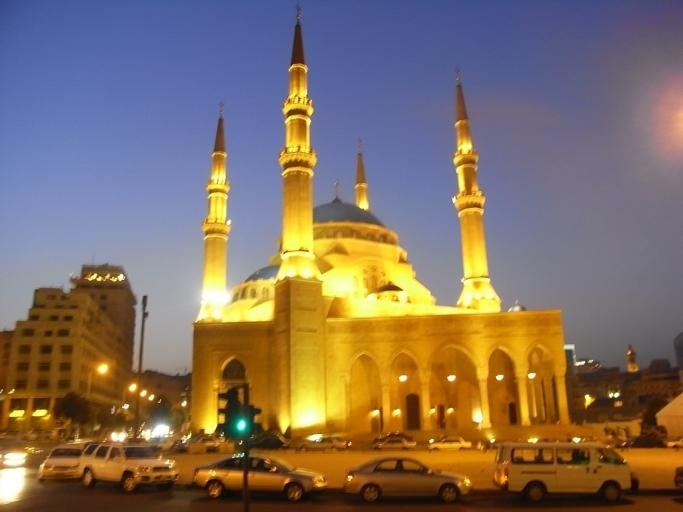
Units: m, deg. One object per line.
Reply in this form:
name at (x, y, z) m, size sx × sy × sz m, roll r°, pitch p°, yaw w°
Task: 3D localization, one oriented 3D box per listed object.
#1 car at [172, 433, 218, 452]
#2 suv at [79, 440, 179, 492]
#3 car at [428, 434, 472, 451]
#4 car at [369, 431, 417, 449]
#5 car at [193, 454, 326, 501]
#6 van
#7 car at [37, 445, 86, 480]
car at (-8.276, 10.903, 33.780) m, size 2.120 × 0.733 × 1.350 m, roll 9°, pitch -22°, yaw -11°
suv at (-7.208, 7.097, 19.871) m, size 2.734 × 1.293 × 1.640 m, roll -18°, pitch -31°, yaw 33°
car at (5.972, 10.494, 32.652) m, size 2.999 × 1.050 × 1.419 m, roll 2°, pitch -15°, yaw 2°
car at (2.913, 10.451, 32.327) m, size 2.726 × 0.949 × 1.282 m, roll 2°, pitch -14°, yaw -1°
car at (-2.600, 6.916, 18.214) m, size 3.945 × 1.381 × 0.827 m, roll -7°, pitch -22°, yaw 13°
van at (6.708, 6.614, 18.213) m, size 3.335 × 1.421 × 1.869 m, roll -2°, pitch -18°, yaw 0°
car at (-10.094, 7.465, 21.250) m, size 0.938 × 0.760 × 2.162 m, roll 2°, pitch -16°, yaw -12°
